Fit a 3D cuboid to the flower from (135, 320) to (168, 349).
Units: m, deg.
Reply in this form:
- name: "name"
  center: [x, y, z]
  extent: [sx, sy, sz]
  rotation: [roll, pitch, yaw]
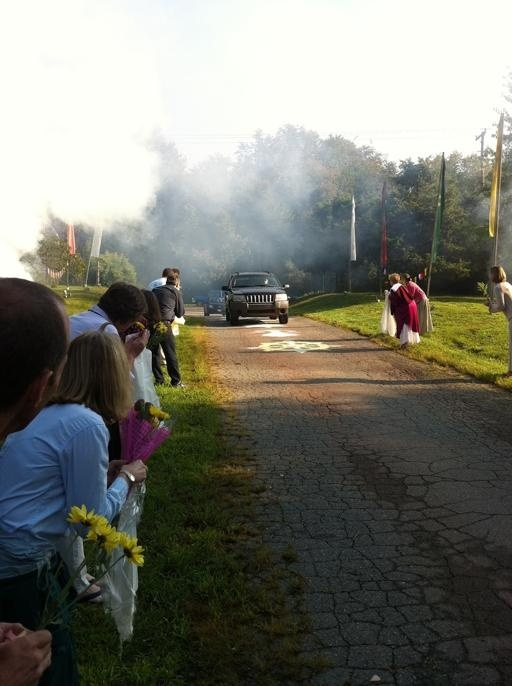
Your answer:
- name: "flower"
  center: [-1.165, -0.112, 5.981]
  extent: [0.276, 0.406, 0.189]
  rotation: [9, 37, 14]

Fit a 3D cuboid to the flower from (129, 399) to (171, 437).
- name: "flower"
  center: [-0.604, 0.425, 3.098]
  extent: [0.150, 0.090, 0.212]
  rotation: [33, 5, 8]
